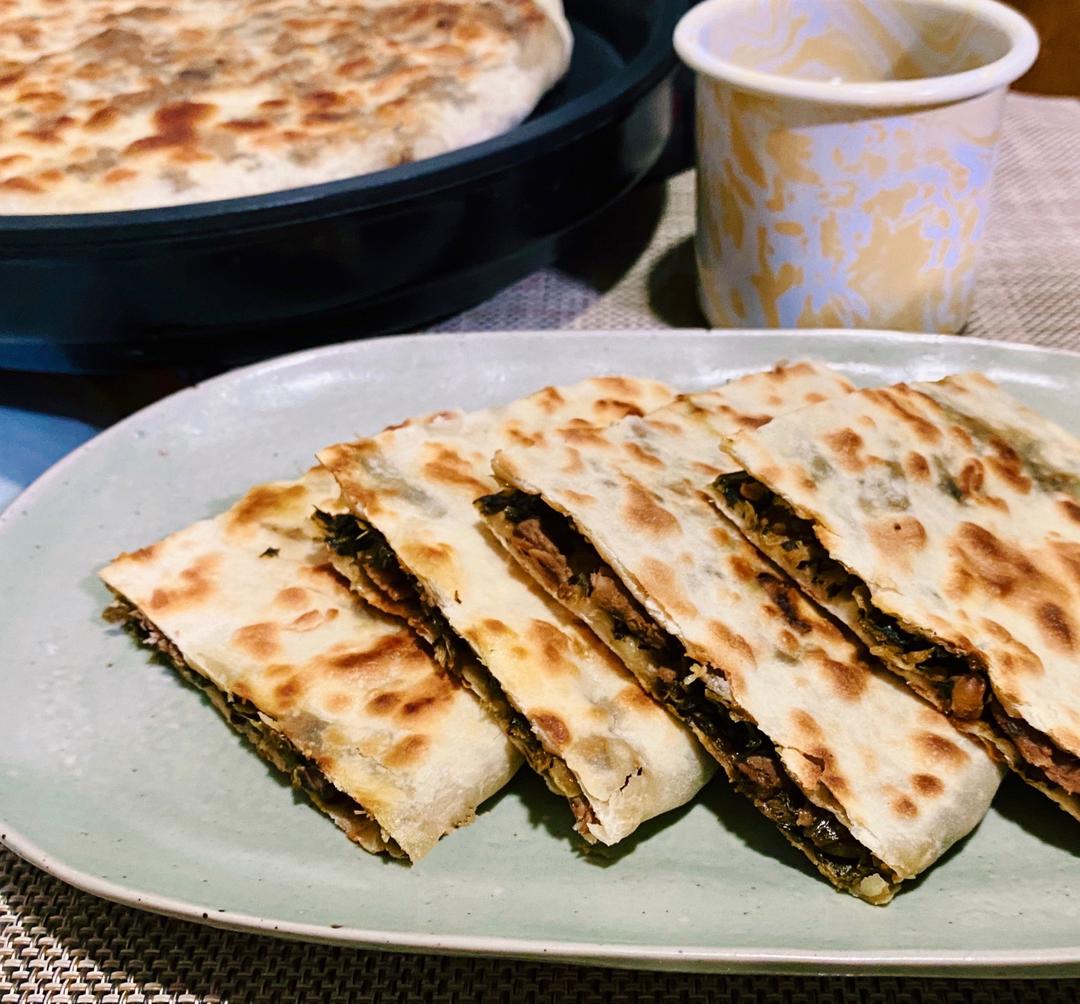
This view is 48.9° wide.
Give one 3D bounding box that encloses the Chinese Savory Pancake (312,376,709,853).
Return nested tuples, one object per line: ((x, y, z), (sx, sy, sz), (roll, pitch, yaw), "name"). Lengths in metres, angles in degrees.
((-0.029, 0.145, 1.495), (0.605, 0.128, 0.541), (-21, 50, -32), "Chinese Savory Pancake")

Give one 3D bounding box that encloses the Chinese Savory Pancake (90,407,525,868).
((-0.315, 0.169, 1.565), (0.465, 0.134, 0.354), (52, 44, -6), "Chinese Savory Pancake")
